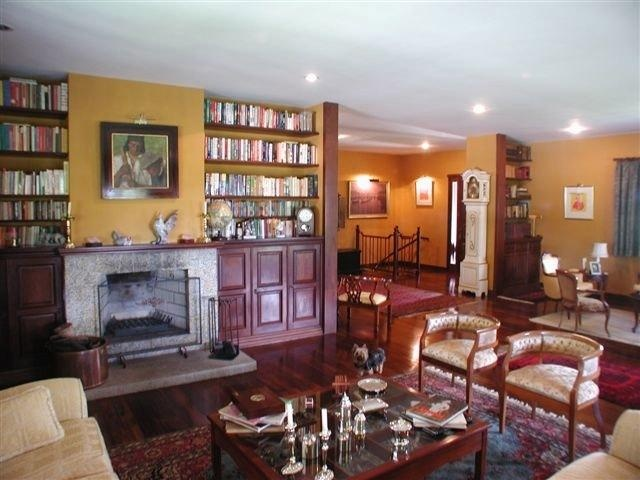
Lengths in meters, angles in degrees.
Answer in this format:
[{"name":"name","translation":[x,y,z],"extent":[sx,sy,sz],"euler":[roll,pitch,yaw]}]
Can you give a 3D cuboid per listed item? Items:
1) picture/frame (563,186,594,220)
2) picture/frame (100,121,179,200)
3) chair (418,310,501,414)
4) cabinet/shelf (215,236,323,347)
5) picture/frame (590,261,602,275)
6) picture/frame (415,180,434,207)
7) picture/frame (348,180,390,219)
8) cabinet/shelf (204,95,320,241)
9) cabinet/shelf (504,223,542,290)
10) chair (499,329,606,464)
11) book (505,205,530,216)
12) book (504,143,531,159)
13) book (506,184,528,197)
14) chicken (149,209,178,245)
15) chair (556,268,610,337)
[{"name":"picture/frame","translation":[5.218,-0.749,9.445],"extent":[0.037,0.915,0.665],"euler":[-5,5,-43]},{"name":"picture/frame","translation":[-2.244,-0.973,5.714],"extent":[0.944,1.007,0.070],"euler":[-2,6,-28]},{"name":"chair","translation":[1.428,1.188,5.253],"extent":[0.877,1.183,0.994],"euler":[0,0,-42]},{"name":"cabinet/shelf","translation":[-0.774,0.723,6.525],"extent":[1.402,1.383,0.565],"euler":[-2,2,-28]},{"name":"picture/frame","translation":[4.700,0.504,8.016],"extent":[0.188,0.199,0.106],"euler":[-3,3,-15]},{"name":"picture/frame","translation":[2.874,-1.263,12.831],"extent":[0.064,0.812,0.626],"euler":[-6,12,-36]},{"name":"picture/frame","translation":[1.328,-1.124,12.917],"extent":[1.412,1.080,0.181],"euler":[-5,4,-37]},{"name":"cabinet/shelf","translation":[-0.867,-1.016,6.612],"extent":[1.847,1.775,0.500],"euler":[-3,3,-39]},{"name":"cabinet/shelf","translation":[4.146,0.381,9.683],"extent":[1.249,1.710,0.591],"euler":[-4,5,-41]},{"name":"chair","translation":[2.166,1.281,4.622],"extent":[0.947,1.379,1.114],"euler":[2,-2,-41]},{"name":"book","translation":[4.120,-0.581,10.027],"extent":[0.482,0.268,0.465],"euler":[4,-2,-30]},{"name":"book","translation":[4.153,-1.829,9.822],"extent":[0.800,0.344,0.172],"euler":[-5,4,-40]},{"name":"book","translation":[4.161,-0.983,9.943],"extent":[0.361,0.240,0.361],"euler":[-4,7,-33]},{"name":"chicken","translation":[-1.942,-0.154,5.855],"extent":[0.341,0.421,0.273],"euler":[-4,3,-21]},{"name":"chair","translation":[3.964,0.947,7.113],"extent":[0.671,0.964,0.606],"euler":[-1,3,19]}]
